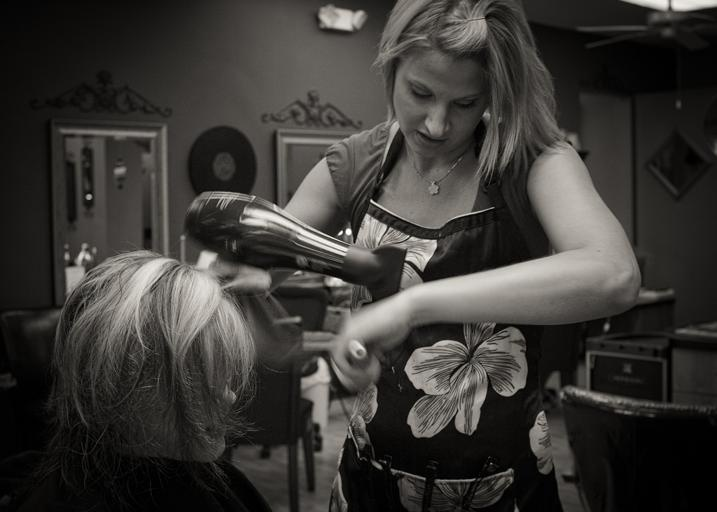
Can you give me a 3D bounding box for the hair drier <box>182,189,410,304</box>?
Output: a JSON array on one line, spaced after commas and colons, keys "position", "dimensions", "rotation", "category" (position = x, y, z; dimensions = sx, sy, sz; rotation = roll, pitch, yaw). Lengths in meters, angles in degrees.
[{"position": [-0.086, -0.012, 0.856], "dimensions": [0.309, 0.118, 0.102], "rotation": [13, -33, 12], "category": "hair drier"}]
